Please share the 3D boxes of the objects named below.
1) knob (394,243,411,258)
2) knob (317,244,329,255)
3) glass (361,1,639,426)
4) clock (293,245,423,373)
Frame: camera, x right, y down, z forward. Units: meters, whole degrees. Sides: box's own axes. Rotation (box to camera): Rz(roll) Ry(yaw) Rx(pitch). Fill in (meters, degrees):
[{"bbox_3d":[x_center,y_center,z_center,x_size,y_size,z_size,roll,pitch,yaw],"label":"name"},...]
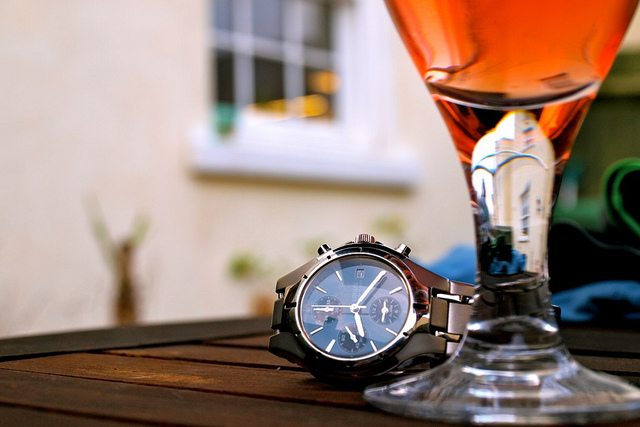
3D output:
[{"bbox_3d":[0.101,0.044,0.896,0.014,0.013,0.014,41,-5,-17],"label":"knob"},{"bbox_3d":[0.004,0.043,0.908,0.011,0.011,0.011,-29,-11,-10],"label":"knob"},{"bbox_3d":[0.183,-0.012,0.756,0.290,0.549,0.188,-1,1,7],"label":"glass"},{"bbox_3d":[0.048,0.105,0.868,0.140,0.125,0.039,-9,-17,4],"label":"clock"}]
